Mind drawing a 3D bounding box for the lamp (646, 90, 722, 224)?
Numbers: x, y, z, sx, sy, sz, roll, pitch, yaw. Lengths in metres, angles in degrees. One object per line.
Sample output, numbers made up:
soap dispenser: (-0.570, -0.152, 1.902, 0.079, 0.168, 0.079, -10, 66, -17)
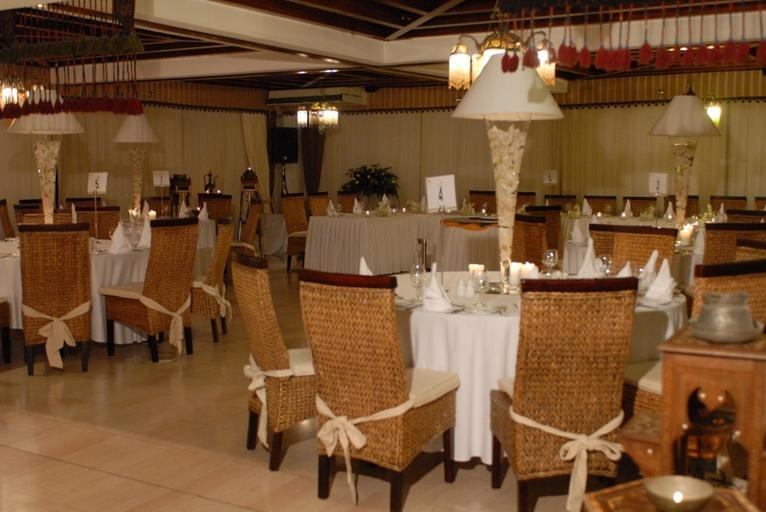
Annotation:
lamp: (3.291, -1.173, 6.387, 0.635, 0.697, 1.348, 15, -25, 29)

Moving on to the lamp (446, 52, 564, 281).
lamp: (0.843, -0.584, 4.117, 0.706, 1.602, 0.738, 3, 12, 16)

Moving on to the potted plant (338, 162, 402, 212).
potted plant: (-0.287, -1.643, 13.403, 1.132, 0.883, 1.212, 1, 10, 3)
